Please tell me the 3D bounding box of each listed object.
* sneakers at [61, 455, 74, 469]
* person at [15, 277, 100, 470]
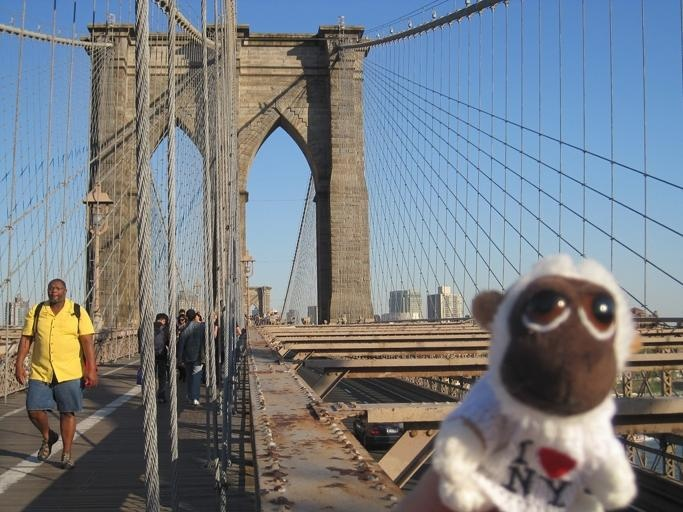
[{"bbox_3d":[-2.045,1.553,5.272,0.055,0.069,0.150,1,-6,-10],"label":"sneakers"},{"bbox_3d":[-2.147,0.898,5.341,0.706,1.434,0.418,-1,-4,35],"label":"person"}]
